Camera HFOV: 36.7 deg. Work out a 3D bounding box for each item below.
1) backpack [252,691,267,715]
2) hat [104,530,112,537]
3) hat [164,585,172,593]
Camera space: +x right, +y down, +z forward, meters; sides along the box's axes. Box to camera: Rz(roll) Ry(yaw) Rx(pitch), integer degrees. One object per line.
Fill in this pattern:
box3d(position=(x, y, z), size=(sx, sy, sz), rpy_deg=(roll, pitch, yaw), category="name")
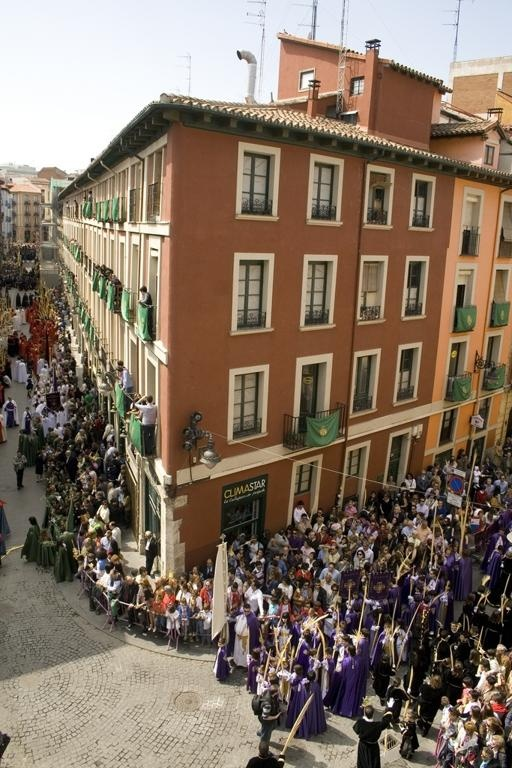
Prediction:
box3d(position=(0.037, 5.814, 13.959), size=(0.157, 0.386, 0.576), rpy_deg=(5, 2, -4), category="backpack")
box3d(position=(-3.812, 3.855, 19.960), size=(0.117, 0.170, 0.157), rpy_deg=(4, -4, 2), category="hat")
box3d(position=(-1.995, 4.670, 17.616), size=(0.109, 0.158, 0.150), rpy_deg=(8, -13, -3), category="hat")
